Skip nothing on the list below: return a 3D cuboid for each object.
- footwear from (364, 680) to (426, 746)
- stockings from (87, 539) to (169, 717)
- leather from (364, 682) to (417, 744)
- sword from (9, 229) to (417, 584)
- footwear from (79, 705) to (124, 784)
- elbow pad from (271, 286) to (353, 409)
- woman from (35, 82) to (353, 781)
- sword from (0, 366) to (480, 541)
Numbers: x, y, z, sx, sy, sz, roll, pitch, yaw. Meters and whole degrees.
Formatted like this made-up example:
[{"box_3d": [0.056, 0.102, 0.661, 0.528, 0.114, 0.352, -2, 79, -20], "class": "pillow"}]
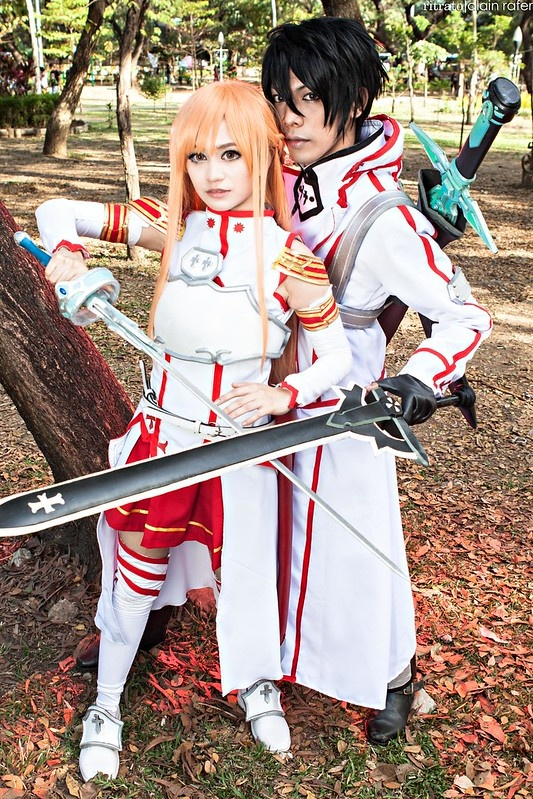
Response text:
[{"box_3d": [0.411, 0.991, 2.241, 0.095, 0.092, 0.255, 16, 22, 25], "class": "footwear"}, {"box_3d": [-0.395, 0.566, 1.980, 0.099, 0.329, 0.087, 15, 23, -17], "class": "stockings"}, {"box_3d": [0.411, 0.982, 2.280, 0.091, 0.089, 0.246, 8, 16, 28], "class": "leather"}, {"box_3d": [-0.005, 0.006, 1.241, 0.641, 0.087, 0.781, 45, 21, 18], "class": "sword"}, {"box_3d": [-0.483, 0.967, 2.056, 0.124, 0.107, 0.298, 7, 12, -15], "class": "footwear"}, {"box_3d": [0.122, -0.114, 1.745, 0.251, 0.252, 0.085, 2, 1, 32], "class": "elbow pad"}, {"box_3d": [-0.187, 0.069, 1.823, 0.899, 1.693, 0.641, 0, 11, -8], "class": "woman"}, {"box_3d": [0.035, 0.102, 1.497, 1.177, 0.297, 0.098, -13, -12, -33], "class": "sword"}]
